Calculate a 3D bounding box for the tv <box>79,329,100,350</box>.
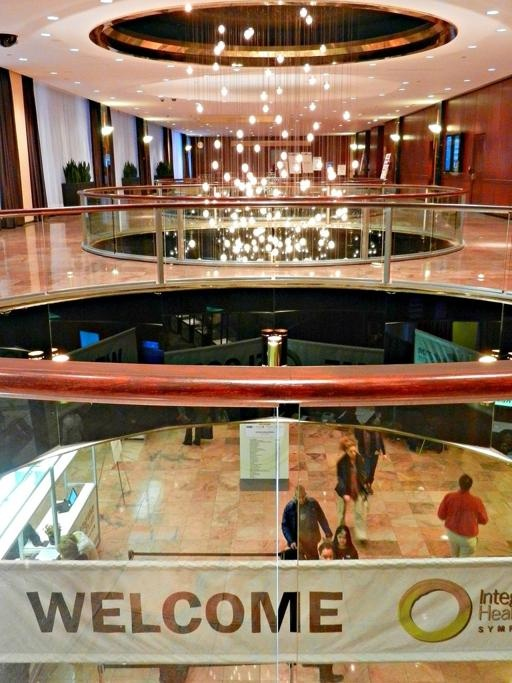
[{"bbox_3d":[-2.017,-0.045,5.937,0.241,0.212,0.054,-6,26,-25],"label":"tv"}]
